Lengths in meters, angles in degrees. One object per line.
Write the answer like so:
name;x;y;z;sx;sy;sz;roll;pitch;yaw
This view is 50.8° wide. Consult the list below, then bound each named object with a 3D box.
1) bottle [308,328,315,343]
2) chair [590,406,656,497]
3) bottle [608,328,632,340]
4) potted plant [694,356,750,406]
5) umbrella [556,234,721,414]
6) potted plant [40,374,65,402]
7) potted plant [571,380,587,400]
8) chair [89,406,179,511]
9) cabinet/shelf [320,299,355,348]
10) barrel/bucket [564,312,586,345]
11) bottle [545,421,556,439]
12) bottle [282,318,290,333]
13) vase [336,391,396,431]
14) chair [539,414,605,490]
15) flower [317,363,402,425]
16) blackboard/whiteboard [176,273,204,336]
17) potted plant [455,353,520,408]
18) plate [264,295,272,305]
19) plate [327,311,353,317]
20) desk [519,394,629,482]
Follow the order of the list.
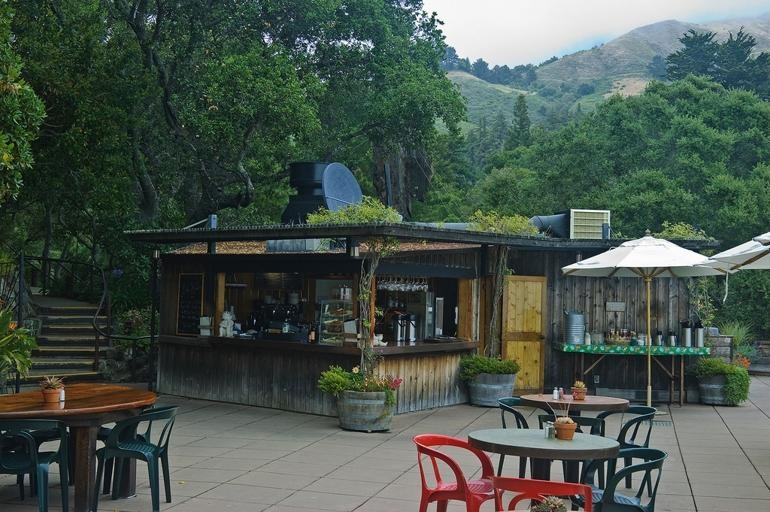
bottle;-1.682;1.797;18.679;0.177;0.299;0.484;-1;-3;-7
chair;4.048;3.394;13.963;0.993;1.350;1.041;19;-21;-35
bottle;5.923;2.026;20.704;0.368;0.239;0.360;0;0;0
potted plant;8.429;3.203;20.630;1.188;1.171;1.342;3;-14;19
umbrella;5.986;1.326;18.688;3.658;3.763;3.766;-6;6;-40
potted plant;-5.589;2.210;13.586;0.436;0.487;0.484;2;-10;-12
potted plant;3.667;2.505;15.210;0.354;0.415;0.365;3;-10;-12
chair;-4.176;3.535;14.129;1.581;2.224;1.767;2;-9;-1
cabinet/shelf;-1.081;1.513;18.198;0.696;0.918;0.543;-1;-7;24
barrel/bucket;4.833;1.891;20.889;0.590;0.916;0.564;-2;4;0
bottle;2.596;2.761;12.876;0.200;0.289;0.198;-1;1;0
bottle;-2.301;1.650;18.889;0.188;0.355;0.192;2;-4;0
vase;-0.430;3.244;16.992;0.897;0.569;0.910;1;-8;-7
chair;3.424;3.317;14.150;1.366;1.657;1.215;0;-16;6
flower;-0.521;3.114;17.616;1.636;1.178;1.307;1;-6;27
blackboard/whiteboard;-4.822;1.166;20.119;0.850;1.501;0.067;-3;-3;33
potted plant;2.463;2.997;19.620;1.216;1.034;1.224;0;-7;-1
plate;-2.875;1.055;20.213;0.192;0.212;0.316;0;-3;-19
plate;-0.993;1.268;17.992;0.532;0.174;0.103;-3;-3;18
desk;3.166;3.112;13.790;1.560;0.519;1.599;0;0;15
